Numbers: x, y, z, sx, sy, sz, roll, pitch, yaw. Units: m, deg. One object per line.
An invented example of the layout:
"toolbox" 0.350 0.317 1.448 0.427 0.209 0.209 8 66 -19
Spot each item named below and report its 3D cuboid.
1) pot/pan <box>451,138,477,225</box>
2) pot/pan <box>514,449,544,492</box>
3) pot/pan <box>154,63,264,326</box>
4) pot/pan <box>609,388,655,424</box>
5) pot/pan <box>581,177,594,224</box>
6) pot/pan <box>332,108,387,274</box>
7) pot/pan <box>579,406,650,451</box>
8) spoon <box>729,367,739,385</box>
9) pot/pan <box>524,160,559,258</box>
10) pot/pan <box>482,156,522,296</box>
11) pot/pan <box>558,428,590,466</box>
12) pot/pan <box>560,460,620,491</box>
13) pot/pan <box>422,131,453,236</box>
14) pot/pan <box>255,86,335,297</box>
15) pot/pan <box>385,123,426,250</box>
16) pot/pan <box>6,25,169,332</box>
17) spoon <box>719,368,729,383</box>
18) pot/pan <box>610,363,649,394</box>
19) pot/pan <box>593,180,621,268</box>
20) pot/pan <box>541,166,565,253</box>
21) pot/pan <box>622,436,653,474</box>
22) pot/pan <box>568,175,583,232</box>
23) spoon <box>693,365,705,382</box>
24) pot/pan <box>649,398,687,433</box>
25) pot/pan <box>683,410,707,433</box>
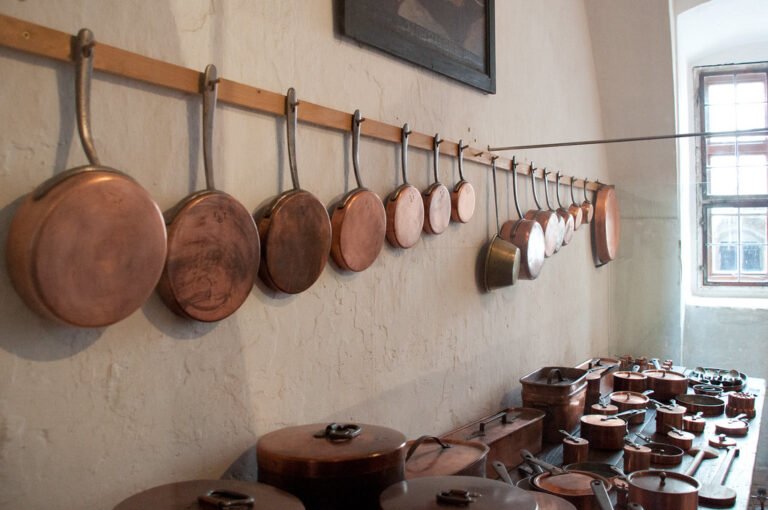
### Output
"pot/pan" 0.326 -0.292 2.510 0.069 0.324 0.218 2 5 22
"pot/pan" 0.520 0.780 2.251 0.025 0.174 0.087 -34 -11 31
"pot/pan" -0.469 -0.137 1.641 0.084 0.602 0.337 2 1 33
"pot/pan" 1.202 0.708 2.956 0.282 0.113 0.145 -2 2 -38
"pot/pan" 1.195 -0.315 3.667 0.070 0.260 0.276 2 5 18
"pot/pan" -0.084 -0.201 2.021 0.086 0.526 0.243 4 6 38
"pot/pan" 0.956 0.730 2.604 0.120 0.092 0.302 -1 -4 33
"spoon" 1.900 0.658 3.377 0.023 0.089 0.056 -9 2 -3
"pot/pan" 0.798 -0.235 3.043 0.173 0.382 0.135 27 -14 -36
"pot/pan" 0.514 -0.132 2.702 0.152 0.591 0.202 2 5 17
"pot/pan" 0.726 0.756 2.423 0.139 0.103 0.080 -1 -2 33
"pot/pan" 0.752 0.791 2.264 0.157 0.024 0.098 0 -5 29
"pot/pan" 0.206 -0.264 2.360 0.074 0.378 0.217 3 5 24
"pot/pan" -0.271 -0.189 1.834 0.079 0.599 0.230 5 7 45
"pot/pan" 0.074 -0.240 2.202 0.080 0.436 0.216 3 6 27
"pot/pan" -0.672 -0.142 1.428 0.109 0.676 0.343 0 2 40
"spoon" 1.880 0.667 3.450 0.013 0.059 0.092 19 -29 4
"pot/pan" 1.266 0.648 3.234 0.117 0.113 0.290 -2 -4 22
"pot/pan" 1.365 -0.171 3.836 0.111 0.504 0.231 5 7 41
"pot/pan" 0.882 -0.231 3.103 0.116 0.399 0.169 -6 4 27
"pot/pan" 0.971 0.766 2.360 0.143 0.110 0.078 -10 0 -25
"pot/pan" 1.065 -0.286 3.431 0.105 0.294 0.129 -1 2 37
"spoon" 1.786 0.679 3.543 0.027 0.063 0.078 7 26 5
"pot/pan" 1.256 0.722 2.740 0.077 0.080 0.176 0 -4 13
"pot/pan" 1.384 0.746 2.776 0.080 0.062 0.201 -2 -2 26
